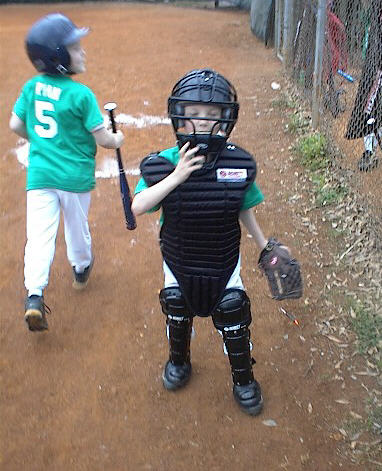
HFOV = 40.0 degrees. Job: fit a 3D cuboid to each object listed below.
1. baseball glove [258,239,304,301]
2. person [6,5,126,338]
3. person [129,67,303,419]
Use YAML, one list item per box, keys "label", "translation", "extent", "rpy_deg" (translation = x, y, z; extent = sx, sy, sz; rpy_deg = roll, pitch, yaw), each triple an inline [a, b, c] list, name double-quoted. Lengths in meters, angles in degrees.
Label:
- label: "baseball glove"
  translation: [0.471, 0.189, 2.743]
  extent: [0.126, 0.320, 0.230]
  rpy_deg: [-29, 10, -38]
- label: "person"
  translation: [-0.845, -0.307, 3.296]
  extent: [0.577, 1.838, 0.912]
  rpy_deg: [21, 40, 32]
- label: "person"
  translation: [0.090, 0.113, 2.725]
  extent: [0.683, 1.751, 0.425]
  rpy_deg: [8, 34, 15]
